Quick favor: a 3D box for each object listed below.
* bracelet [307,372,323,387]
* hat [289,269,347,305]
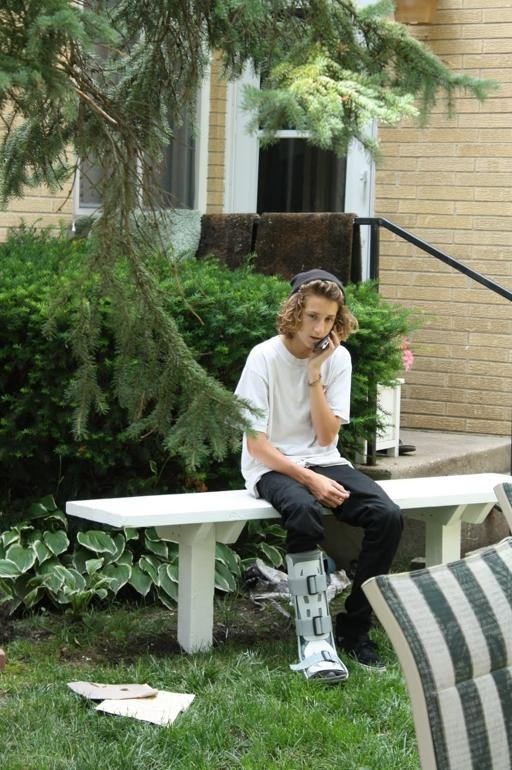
[{"bbox_3d":[0.224,-0.025,3.692,0.042,0.054,0.029,7,-34,47],"label":"bracelet"},{"bbox_3d":[0.232,-0.380,3.716,0.153,0.057,0.144,3,-6,-16],"label":"hat"}]
